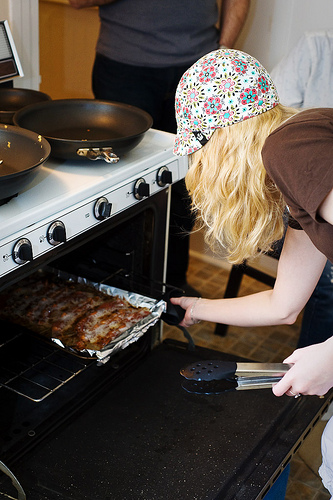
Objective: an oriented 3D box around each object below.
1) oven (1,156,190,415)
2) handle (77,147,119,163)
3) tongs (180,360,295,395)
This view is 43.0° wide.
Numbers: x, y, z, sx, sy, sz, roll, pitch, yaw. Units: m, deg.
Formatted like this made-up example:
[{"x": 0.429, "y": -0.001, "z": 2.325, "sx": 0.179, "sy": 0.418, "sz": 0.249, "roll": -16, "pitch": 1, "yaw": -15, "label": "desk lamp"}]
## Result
[{"x": -0.165, "y": 0.100, "z": 0.980, "sx": 0.477, "sy": 0.333, "sz": 0.286, "roll": -31, "pitch": 54, "yaw": -27, "label": "oven"}, {"x": -0.137, "y": -0.188, "z": 0.836, "sx": 0.077, "sy": 0.022, "sz": 0.048, "roll": -5, "pitch": 34, "yaw": -19, "label": "handle"}, {"x": 0.162, "y": 0.267, "z": 0.882, "sx": 0.257, "sy": 0.057, "sz": 0.060, "roll": -4, "pitch": 17, "yaw": 3, "label": "tongs"}]
